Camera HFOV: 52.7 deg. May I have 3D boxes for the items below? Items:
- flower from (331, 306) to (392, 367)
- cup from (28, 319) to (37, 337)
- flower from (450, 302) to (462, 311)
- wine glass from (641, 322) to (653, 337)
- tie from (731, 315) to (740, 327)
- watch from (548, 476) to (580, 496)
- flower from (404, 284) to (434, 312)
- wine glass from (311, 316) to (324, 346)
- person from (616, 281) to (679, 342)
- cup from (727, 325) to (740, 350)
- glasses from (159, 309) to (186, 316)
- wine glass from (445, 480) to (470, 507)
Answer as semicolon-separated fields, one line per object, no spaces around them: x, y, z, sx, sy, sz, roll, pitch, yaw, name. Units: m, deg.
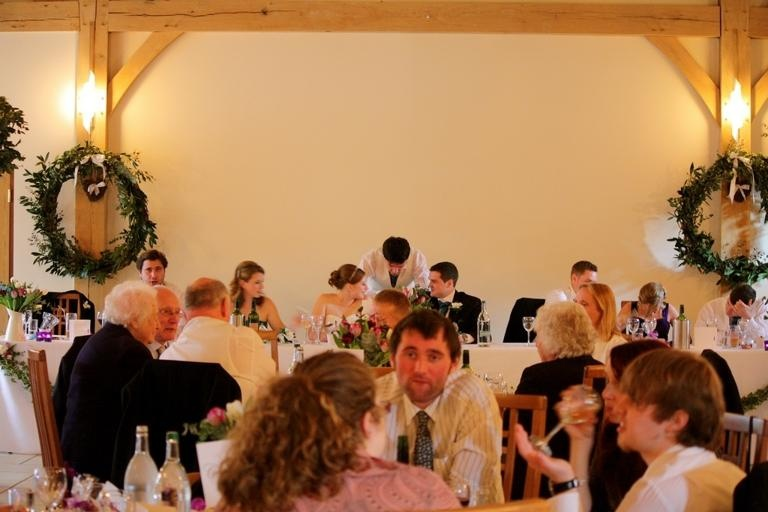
-0.124;0.504;5.118;0.307;0.329;0.328;0;6;6;flower
-3.107;0.630;6.864;0.085;0.171;0.148;0;-4;-25;cup
0.589;0.390;6.240;0.066;0.050;0.071;1;-8;1;flower
2.175;0.587;6.395;0.090;0.114;0.296;-3;-4;19;wine glass
3.122;0.568;6.887;0.088;0.096;0.094;-1;-3;-7;tie
0.755;0.954;3.243;0.101;0.074;0.116;-2;-4;22;watch
0.259;0.339;5.900;0.195;0.158;0.205;6;11;38;flower
-0.493;0.540;5.802;0.089;0.188;0.270;-1;-4;-6;wine glass
2.460;0.507;7.198;0.394;0.302;0.787;7;-14;24;person
3.009;0.681;6.678;0.100;0.166;0.396;-3;-4;24;cup
-1.511;0.387;5.406;0.112;0.038;0.113;-10;-13;36;glasses
0.336;1.041;3.424;0.093;0.119;0.095;-1;-1;34;wine glass
